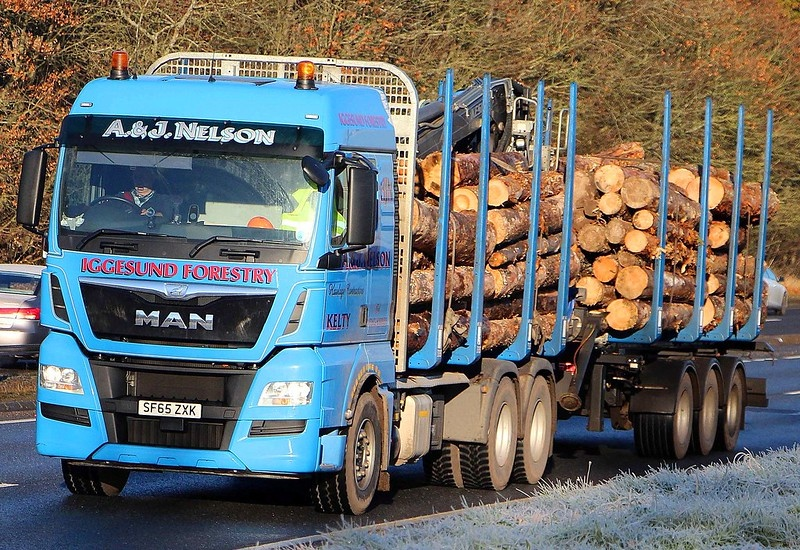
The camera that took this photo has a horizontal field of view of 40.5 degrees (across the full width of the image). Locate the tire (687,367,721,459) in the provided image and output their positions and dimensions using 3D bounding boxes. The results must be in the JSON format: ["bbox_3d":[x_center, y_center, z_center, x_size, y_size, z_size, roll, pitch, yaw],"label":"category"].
[{"bbox_3d":[4.635,2.079,16.230,0.244,1.074,1.051,1,25,15],"label":"tire"}]

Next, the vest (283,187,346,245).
[{"bbox_3d":[-0.850,-0.538,9.698,0.504,0.521,0.185,9,-5,-6],"label":"vest"}]

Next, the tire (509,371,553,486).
[{"bbox_3d":[1.630,1.890,12.789,0.242,1.030,1.017,0,-7,12],"label":"tire"}]

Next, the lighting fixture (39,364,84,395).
[{"bbox_3d":[-3.082,0.948,9.818,0.499,0.249,0.091,0,1,33],"label":"lighting fixture"}]

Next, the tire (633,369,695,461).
[{"bbox_3d":[3.767,1.771,15.676,0.532,1.694,1.656,2,13,18],"label":"tire"}]

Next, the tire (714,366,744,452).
[{"bbox_3d":[5.143,2.100,16.976,0.288,1.251,1.248,4,42,27],"label":"tire"}]

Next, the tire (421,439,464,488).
[{"bbox_3d":[0.492,2.131,12.244,0.485,0.514,0.503,-1,3,15],"label":"tire"}]

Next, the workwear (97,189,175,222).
[{"bbox_3d":[-2.388,-0.634,9.781,0.718,0.326,0.051,-1,1,14],"label":"workwear"}]

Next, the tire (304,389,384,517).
[{"bbox_3d":[-0.495,1.715,10.436,0.408,1.264,1.259,1,-11,18],"label":"tire"}]
